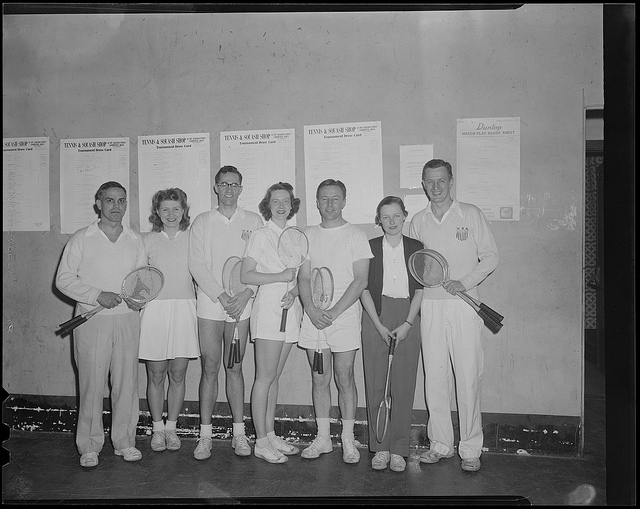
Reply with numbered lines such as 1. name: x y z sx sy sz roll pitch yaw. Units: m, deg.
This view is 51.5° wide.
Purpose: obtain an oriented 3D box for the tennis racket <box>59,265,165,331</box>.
1. tennis racket: -1.679 0.326 5.387 0.968 0.424 0.075 -24 1 -16

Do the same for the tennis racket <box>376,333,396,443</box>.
1. tennis racket: 0.544 1.073 5.395 0.043 0.911 0.157 23 -23 -33

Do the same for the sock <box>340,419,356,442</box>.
1. sock: 0.228 1.432 5.430 0.092 0.180 0.073 0 3 -10

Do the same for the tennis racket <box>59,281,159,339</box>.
1. tennis racket: -1.706 0.446 5.484 0.704 0.248 0.052 -33 -16 -2

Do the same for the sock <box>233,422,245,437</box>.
1. sock: -0.678 1.461 5.599 0.069 0.110 0.113 -2 -27 -2

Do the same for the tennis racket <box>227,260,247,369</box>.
1. tennis racket: -0.685 0.482 5.492 0.159 0.876 0.241 0 3 -7

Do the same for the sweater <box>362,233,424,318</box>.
1. sweater: 0.590 0.182 5.400 0.625 0.696 0.352 -1 -3 -2

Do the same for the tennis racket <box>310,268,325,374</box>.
1. tennis racket: -0.010 0.653 5.370 0.038 0.561 0.203 -19 -31 34

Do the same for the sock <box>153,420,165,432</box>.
1. sock: -1.396 1.462 5.691 0.083 0.068 0.085 0 -20 -8

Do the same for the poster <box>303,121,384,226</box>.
1. poster: 0.228 -0.690 5.700 0.854 1.096 0.023 -1 -3 2

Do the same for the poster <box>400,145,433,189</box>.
1. poster: 0.836 -0.752 5.690 0.359 0.506 0.026 -2 -3 5

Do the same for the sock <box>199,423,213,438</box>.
1. sock: -0.956 1.465 5.551 0.094 0.105 0.098 -2 2 10

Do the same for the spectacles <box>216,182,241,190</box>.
1. spectacles: -0.776 -0.598 5.700 0.169 0.059 0.057 -1 3 -19

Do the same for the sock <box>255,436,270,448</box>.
1. sock: -0.461 1.511 5.408 0.124 0.092 0.090 -1 3 -25

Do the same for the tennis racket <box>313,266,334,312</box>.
1. tennis racket: 0.025 0.269 5.394 0.172 0.359 0.107 0 3 3

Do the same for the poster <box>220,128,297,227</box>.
1. poster: -0.577 -0.704 5.954 0.694 0.950 0.016 2 38 -3

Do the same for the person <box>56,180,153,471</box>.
1. person: -1.783 0.554 5.523 0.737 2.339 0.488 -1 3 -23

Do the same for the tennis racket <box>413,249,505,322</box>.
1. tennis racket: 1.188 0.258 5.318 0.074 0.961 0.380 -32 -24 -40

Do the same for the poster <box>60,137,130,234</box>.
1. poster: -1.973 -0.610 5.886 0.824 1.194 0.019 1 -3 5

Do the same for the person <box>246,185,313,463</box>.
1. person: -0.353 0.541 5.504 0.545 2.267 0.437 -1 3 -24

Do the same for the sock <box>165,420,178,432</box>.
1. sock: -1.283 1.456 5.687 0.090 0.094 0.039 -1 3 -15

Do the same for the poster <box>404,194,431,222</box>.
1. poster: 0.830 -0.400 5.630 0.205 0.220 0.010 -6 -3 6

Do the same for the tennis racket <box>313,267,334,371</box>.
1. tennis racket: 0.053 0.509 5.372 0.050 0.710 0.280 10 -9 -44
